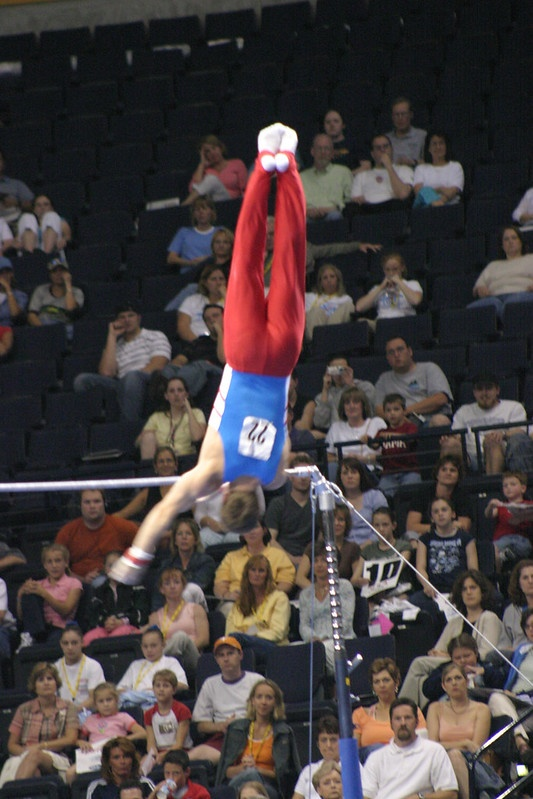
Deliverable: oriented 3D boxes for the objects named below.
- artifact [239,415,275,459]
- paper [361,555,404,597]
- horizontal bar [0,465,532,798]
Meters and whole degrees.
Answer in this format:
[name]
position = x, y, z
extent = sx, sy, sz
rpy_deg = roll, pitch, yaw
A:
[artifact]
position = -0.063, 0.222, 10.386
extent = 0.216, 0.224, 0.057
rpy_deg = 17, -6, -14
[paper]
position = 0.769, 1.207, 12.295
extent = 0.370, 0.030, 0.384
rpy_deg = -3, 40, 2
[horizontal bar]
position = -0.055, 1.203, 10.587
extent = 2.372, 1.132, 2.442
rpy_deg = 4, 7, 26
